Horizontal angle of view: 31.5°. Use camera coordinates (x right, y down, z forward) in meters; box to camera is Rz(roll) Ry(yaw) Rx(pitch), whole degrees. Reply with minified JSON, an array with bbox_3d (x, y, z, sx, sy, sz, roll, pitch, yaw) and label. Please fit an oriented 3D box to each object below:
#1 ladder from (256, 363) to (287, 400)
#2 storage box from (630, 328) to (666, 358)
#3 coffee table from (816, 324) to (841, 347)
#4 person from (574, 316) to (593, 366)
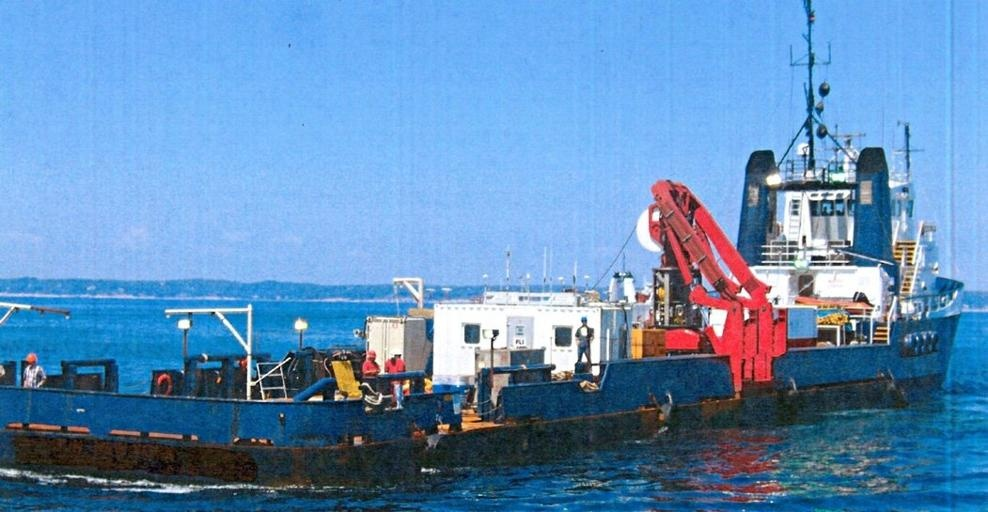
[{"bbox_3d":[-13.554,7.383,106.415,1.699,2.168,3.248,5,3,-10],"label":"ladder"},{"bbox_3d":[9.882,5.633,110.674,2.593,2.165,1.739,0,4,3],"label":"storage box"},{"bbox_3d":[22.306,5.103,115.823,1.544,1.319,0.728,1,8,30],"label":"coffee table"},{"bbox_3d":[5.583,5.147,107.504,1.139,2.997,1.458,6,4,2],"label":"person"}]
